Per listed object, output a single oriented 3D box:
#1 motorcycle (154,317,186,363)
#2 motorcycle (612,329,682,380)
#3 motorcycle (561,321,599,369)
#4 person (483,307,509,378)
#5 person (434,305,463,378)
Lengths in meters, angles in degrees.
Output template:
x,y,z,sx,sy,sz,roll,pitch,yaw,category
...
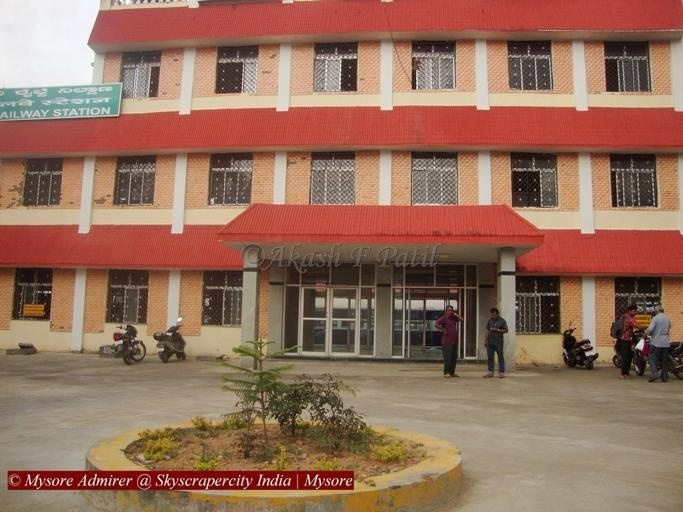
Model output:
x,y,z,sx,sy,sz,roll,pitch,yaw,category
-6.174,3.101,22.834,0.755,1.583,1.624,-1,-8,7,motorcycle
9.592,3.126,19.632,1.256,1.322,2.439,5,0,-7,motorcycle
8.228,3.242,21.536,0.621,1.370,1.461,2,-8,-13,motorcycle
4.874,2.715,19.546,0.650,2.156,1.593,-2,-8,14,person
3.350,2.643,19.229,0.701,2.165,0.863,-2,-8,13,person
